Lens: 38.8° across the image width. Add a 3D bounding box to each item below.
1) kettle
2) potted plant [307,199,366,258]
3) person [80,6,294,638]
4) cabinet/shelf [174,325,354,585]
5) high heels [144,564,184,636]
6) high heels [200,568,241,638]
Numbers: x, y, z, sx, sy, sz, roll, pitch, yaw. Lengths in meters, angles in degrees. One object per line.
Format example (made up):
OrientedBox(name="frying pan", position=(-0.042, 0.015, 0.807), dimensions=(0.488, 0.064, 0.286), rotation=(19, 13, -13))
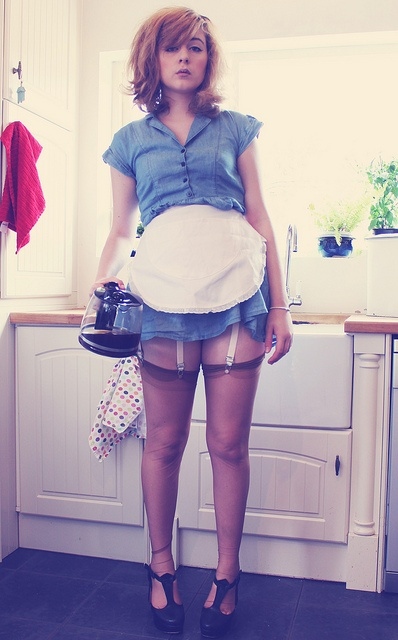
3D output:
OrientedBox(name="kettle", position=(-0.182, 0.000, 1.181), dimensions=(0.102, 0.127, 0.137), rotation=(14, 4, -25))
OrientedBox(name="potted plant", position=(0.529, -0.348, 2.181), dimensions=(0.219, 0.213, 0.194), rotation=(3, 8, 17))
OrientedBox(name="person", position=(-0.014, 0.027, 1.284), dimensions=(0.432, 1.376, 0.259), rotation=(0, 7, 0))
OrientedBox(name="cabinet/shelf", position=(0.255, 0.385, 1.872), dimensions=(0.568, 0.976, 0.589), rotation=(-1, -5, 11))
OrientedBox(name="high heels", position=(-0.081, 0.648, 1.313), dimensions=(0.048, 0.080, 0.168), rotation=(0, 3, -11))
OrientedBox(name="high heels", position=(0.065, 0.648, 1.310), dimensions=(0.051, 0.118, 0.159), rotation=(1, 0, 14))
